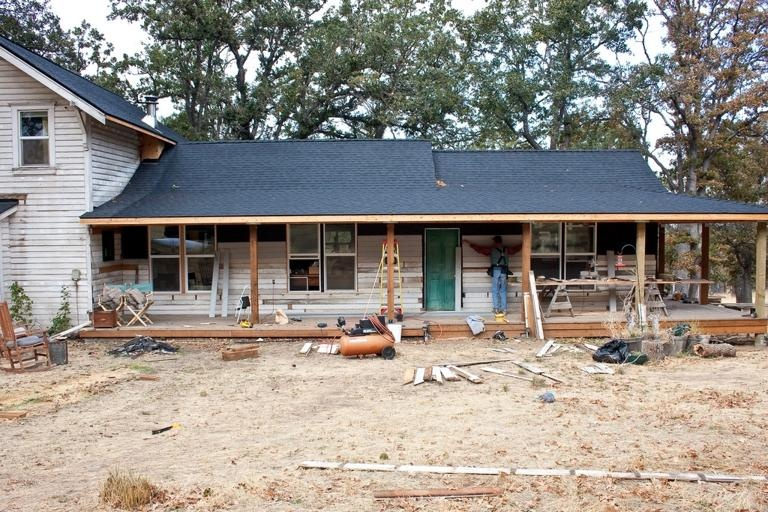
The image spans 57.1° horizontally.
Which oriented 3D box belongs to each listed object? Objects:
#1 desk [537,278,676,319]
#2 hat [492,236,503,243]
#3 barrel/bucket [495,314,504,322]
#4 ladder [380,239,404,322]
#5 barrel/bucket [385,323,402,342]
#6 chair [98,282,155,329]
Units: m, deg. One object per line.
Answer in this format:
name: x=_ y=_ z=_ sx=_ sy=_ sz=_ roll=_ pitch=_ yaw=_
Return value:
desk: x=6.368 y=1.215 z=20.953 sx=3.525 sy=1.278 sz=2.127 roll=-3 pitch=-4 yaw=11
hat: x=3.432 y=-0.504 z=21.295 sx=0.225 sy=0.181 sz=0.204 roll=1 pitch=-6 yaw=-1
barrel/bucket: x=3.383 y=1.780 z=20.382 sx=0.232 sy=0.147 sz=0.216 roll=3 pitch=-5 yaw=0
ladder: x=0.202 y=0.694 z=21.001 sx=0.724 sy=2.478 sz=1.436 roll=-3 pitch=-4 yaw=1
barrel/bucket: x=0.299 y=2.154 z=19.752 sx=0.409 sy=0.527 sz=0.594 roll=-4 pitch=-4 yaw=12
chair: x=-7.485 y=1.416 z=20.390 sx=1.315 sy=1.216 sz=1.417 roll=1 pitch=-9 yaw=-22
